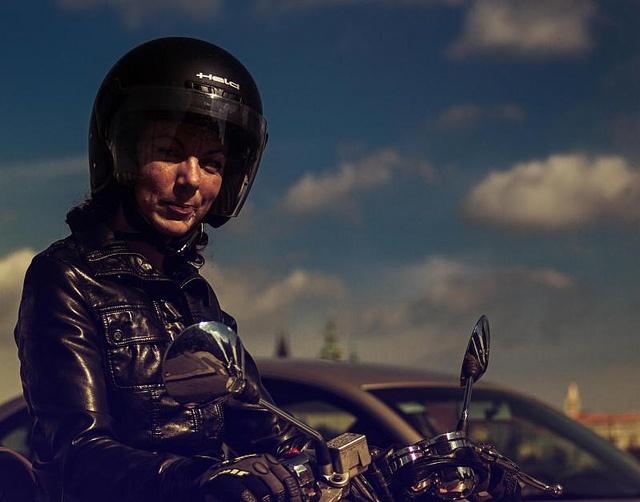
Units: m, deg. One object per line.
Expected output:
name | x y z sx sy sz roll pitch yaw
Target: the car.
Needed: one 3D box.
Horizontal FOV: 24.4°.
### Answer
car | 0.014 0.619 5.453 2.192 0.687 0.989 -1 -3 12
